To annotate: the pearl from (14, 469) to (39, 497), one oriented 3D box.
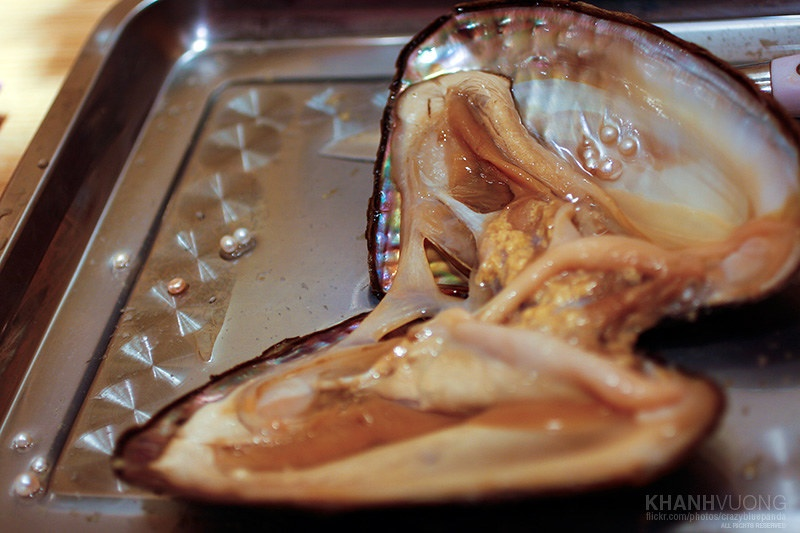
[{"bbox_3d":[-0.363,0.212,0.806,0.022,0.012,0.022,-32,77,-9],"label":"pearl"}]
